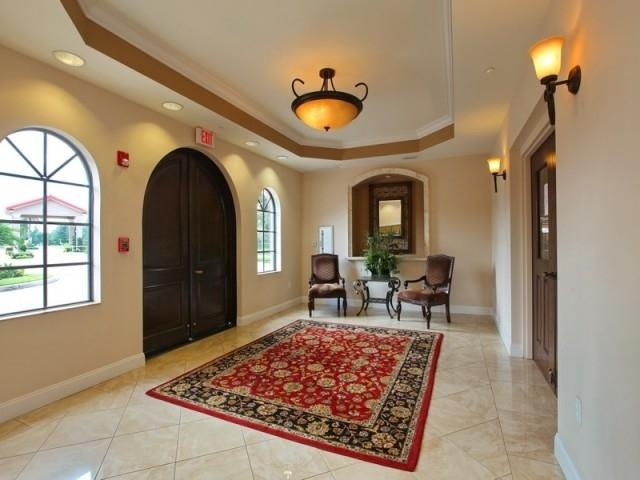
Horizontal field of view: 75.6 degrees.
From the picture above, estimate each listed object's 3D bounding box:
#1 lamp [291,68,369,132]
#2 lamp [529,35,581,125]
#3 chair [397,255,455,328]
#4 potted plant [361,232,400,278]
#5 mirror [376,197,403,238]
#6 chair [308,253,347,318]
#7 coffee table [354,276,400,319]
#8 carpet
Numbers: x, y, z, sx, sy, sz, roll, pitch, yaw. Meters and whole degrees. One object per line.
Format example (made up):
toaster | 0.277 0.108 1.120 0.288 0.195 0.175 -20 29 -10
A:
lamp | 0.109 -1.450 4.459 0.736 0.548 0.748 0 -3 10
lamp | 1.660 -1.111 2.939 0.324 0.557 0.252 0 -2 7
chair | 1.692 0.762 6.502 0.726 1.065 0.645 2 0 -34
potted plant | 1.029 0.263 7.257 0.655 0.912 0.679 -1 -1 22
mirror | 1.304 -0.416 7.670 0.461 0.665 0.299 2 13 10
chair | 0.070 0.728 7.061 0.649 1.047 0.727 -1 -1 -14
coffee table | 0.988 0.981 7.130 0.725 0.589 0.591 4 0 12
carpet | 0.033 1.425 4.652 2.611 0.284 2.734 5 14 24
